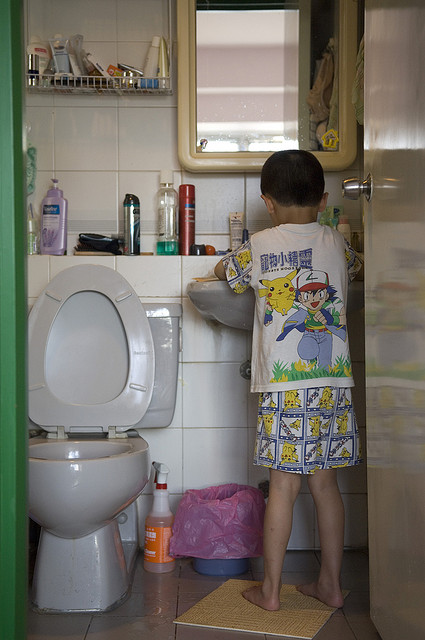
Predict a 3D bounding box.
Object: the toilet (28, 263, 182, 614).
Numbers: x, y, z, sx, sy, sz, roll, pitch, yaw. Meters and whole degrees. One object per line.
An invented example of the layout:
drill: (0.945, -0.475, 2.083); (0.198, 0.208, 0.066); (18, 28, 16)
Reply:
toilet: (-0.334, 0.286, 1.616); (0.448, 0.843, 0.755); (1, 0, -6)

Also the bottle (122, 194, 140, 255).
bottle: (-0.267, -0.308, 1.922); (0.055, 0.195, 0.102); (1, -5, -10)

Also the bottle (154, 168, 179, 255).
bottle: (-0.153, -0.350, 1.924); (0.089, 0.277, 0.092); (0, -5, 0)

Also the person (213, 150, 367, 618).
person: (0.210, 0.229, 1.434); (0.334, 0.922, 0.197); (2, -5, -24)

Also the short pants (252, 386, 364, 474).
short pants: (0.231, 0.240, 1.413); (0.286, 0.231, 0.188); (-1, 4, -11)

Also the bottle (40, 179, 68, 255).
bottle: (-0.519, -0.321, 1.900); (0.087, 0.223, 0.073); (1, -5, -10)

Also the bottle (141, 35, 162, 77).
bottle: (-0.200, -0.869, 1.904); (0.063, 0.182, 0.097); (1, -5, -8)

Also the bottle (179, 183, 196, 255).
bottle: (-0.082, -0.324, 1.894); (0.047, 0.224, 0.067); (0, -5, -6)

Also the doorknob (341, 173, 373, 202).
doorknob: (0.300, -0.287, 1.209); (0.054, 0.064, 0.058); (0, -8, 4)

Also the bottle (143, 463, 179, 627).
bottle: (-0.146, 0.594, 1.676); (0.085, 0.330, 0.078); (2, 4, 0)
